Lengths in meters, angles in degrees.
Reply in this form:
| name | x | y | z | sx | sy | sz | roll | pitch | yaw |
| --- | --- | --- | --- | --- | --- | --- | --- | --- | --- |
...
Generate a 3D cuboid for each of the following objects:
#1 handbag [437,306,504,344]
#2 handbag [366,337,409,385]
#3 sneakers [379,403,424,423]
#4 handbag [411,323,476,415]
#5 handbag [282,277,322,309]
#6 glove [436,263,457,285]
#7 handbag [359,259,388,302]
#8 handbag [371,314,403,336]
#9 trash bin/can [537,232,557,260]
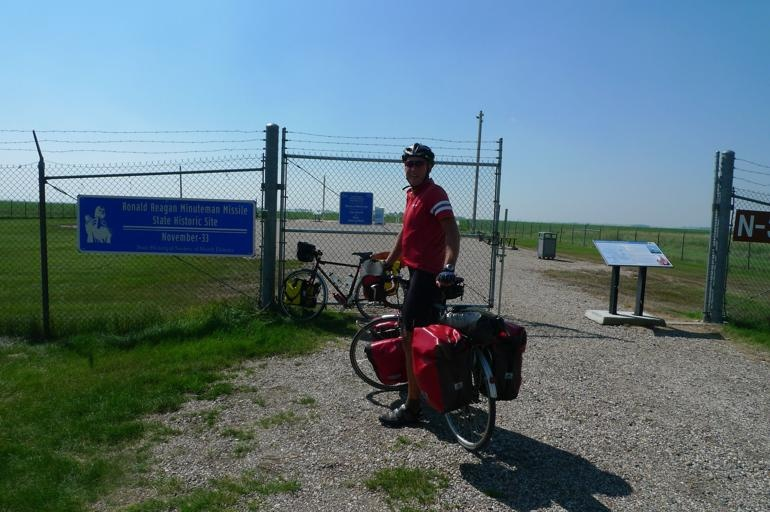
| name | x | y | z | sx | sy | sz | roll | pitch | yaw |
| --- | --- | --- | --- | --- | --- | --- | --- | --- | --- |
| handbag | 0.953 | 0.782 | 6.950 | 0.707 | 0.371 | 0.231 | 4 | 5 | 29 |
| handbag | 0.051 | 1.338 | 8.017 | 0.550 | 0.595 | 0.288 | -9 | 14 | 5 |
| sneakers | 0.221 | 1.898 | 7.579 | 0.560 | 0.289 | 0.218 | 1 | 4 | -11 |
| handbag | 0.679 | 1.230 | 7.029 | 0.588 | 1.070 | 0.932 | -4 | 7 | -19 |
| handbag | -1.437 | 0.625 | 11.041 | 0.554 | 0.573 | 0.429 | 9 | 11 | 10 |
| glove | 0.687 | 0.217 | 6.975 | 0.216 | 0.094 | 0.179 | 0 | 43 | 13 |
| handbag | -0.143 | 0.337 | 11.062 | 0.551 | 1.079 | 0.772 | 2 | 2 | -5 |
| handbag | 0.015 | 0.920 | 8.160 | 0.270 | 0.303 | 0.309 | -11 | -7 | 20 |
| trash bin/can | 6.876 | -0.416 | 26.481 | 0.666 | 1.080 | 1.695 | 2 | 4 | 12 |
